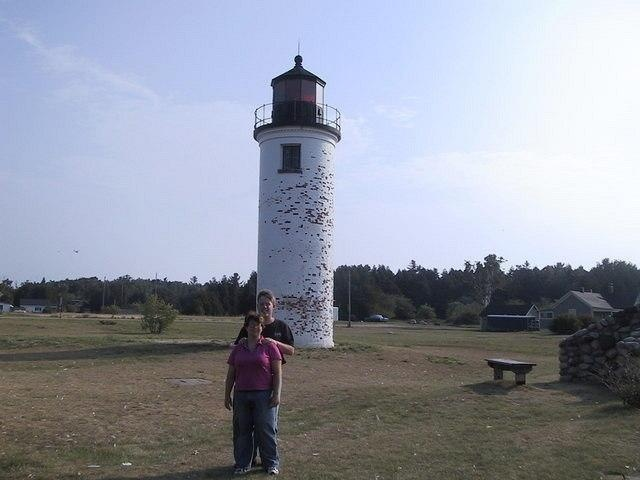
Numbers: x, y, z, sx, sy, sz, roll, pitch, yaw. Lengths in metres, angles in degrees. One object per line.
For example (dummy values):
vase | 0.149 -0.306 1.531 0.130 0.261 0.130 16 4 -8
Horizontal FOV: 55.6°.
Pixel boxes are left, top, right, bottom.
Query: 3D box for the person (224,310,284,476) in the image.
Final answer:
person | -1.184 2.673 10.744 0.988 2.799 0.554 0 -3 -5

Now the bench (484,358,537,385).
bench | 5.336 3.677 17.103 0.540 0.631 1.327 1 -3 -13

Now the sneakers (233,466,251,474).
sneakers | -1.371 3.994 10.594 0.277 0.142 0.107 0 -8 16
